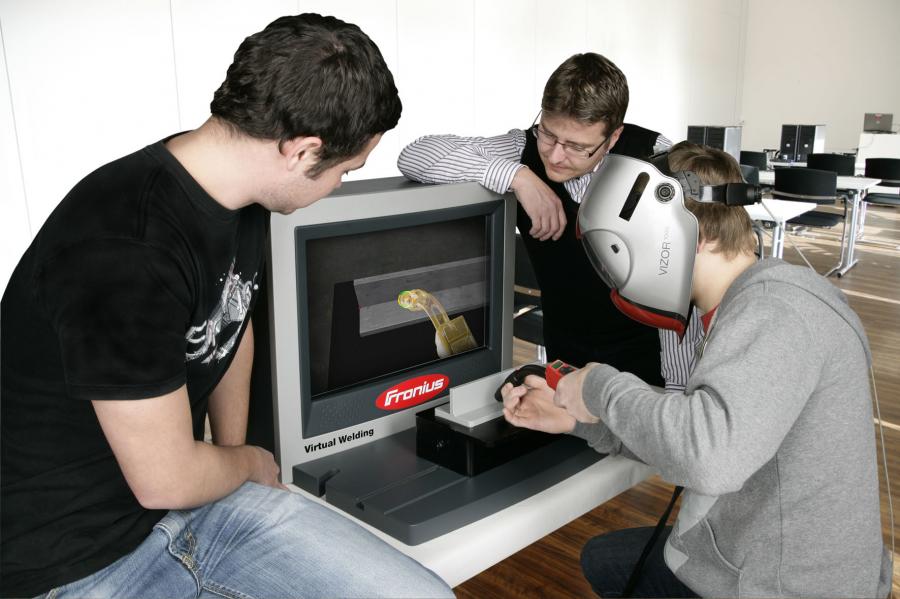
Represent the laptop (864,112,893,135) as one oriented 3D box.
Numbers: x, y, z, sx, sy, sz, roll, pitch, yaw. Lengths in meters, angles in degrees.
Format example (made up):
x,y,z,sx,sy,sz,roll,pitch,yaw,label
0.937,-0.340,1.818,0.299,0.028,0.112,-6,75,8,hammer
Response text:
x,y,z,sx,sy,sz,roll,pitch,yaw,label
6.257,-2.574,9.422,0.347,0.253,0.397,7,20,28,laptop
